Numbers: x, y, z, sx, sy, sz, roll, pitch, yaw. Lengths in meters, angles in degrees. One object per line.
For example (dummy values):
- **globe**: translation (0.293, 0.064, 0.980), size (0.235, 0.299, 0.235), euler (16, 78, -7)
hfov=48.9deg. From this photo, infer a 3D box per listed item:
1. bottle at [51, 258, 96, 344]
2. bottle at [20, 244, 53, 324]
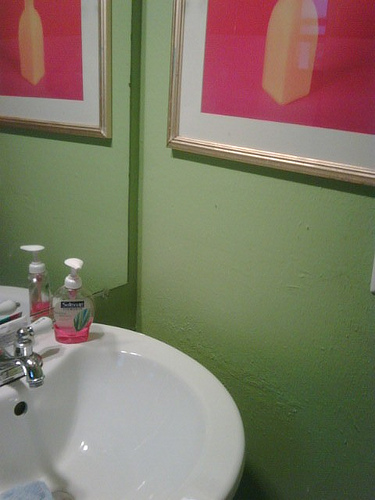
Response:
- **bottle**: translation (-0.231, 0.094, 0.827), size (0.090, 0.193, 0.059), euler (1, 29, -17)
- **bottle**: translation (-0.318, 0.065, 0.873), size (0.016, 0.161, 0.063), euler (7, 15, 23)
